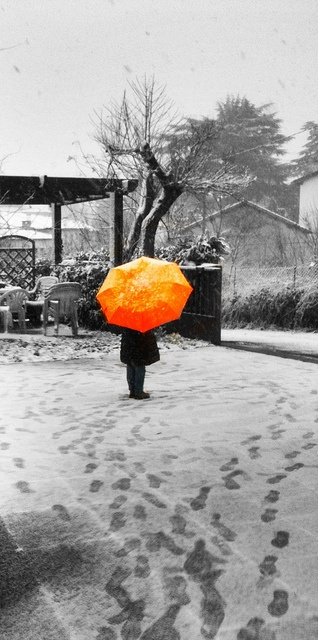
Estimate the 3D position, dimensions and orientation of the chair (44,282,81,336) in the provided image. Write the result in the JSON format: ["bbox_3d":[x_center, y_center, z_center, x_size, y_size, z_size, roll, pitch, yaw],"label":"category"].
[{"bbox_3d":[-1.887,-0.212,10.185,0.539,1.015,0.625,1,-1,-19],"label":"chair"}]
